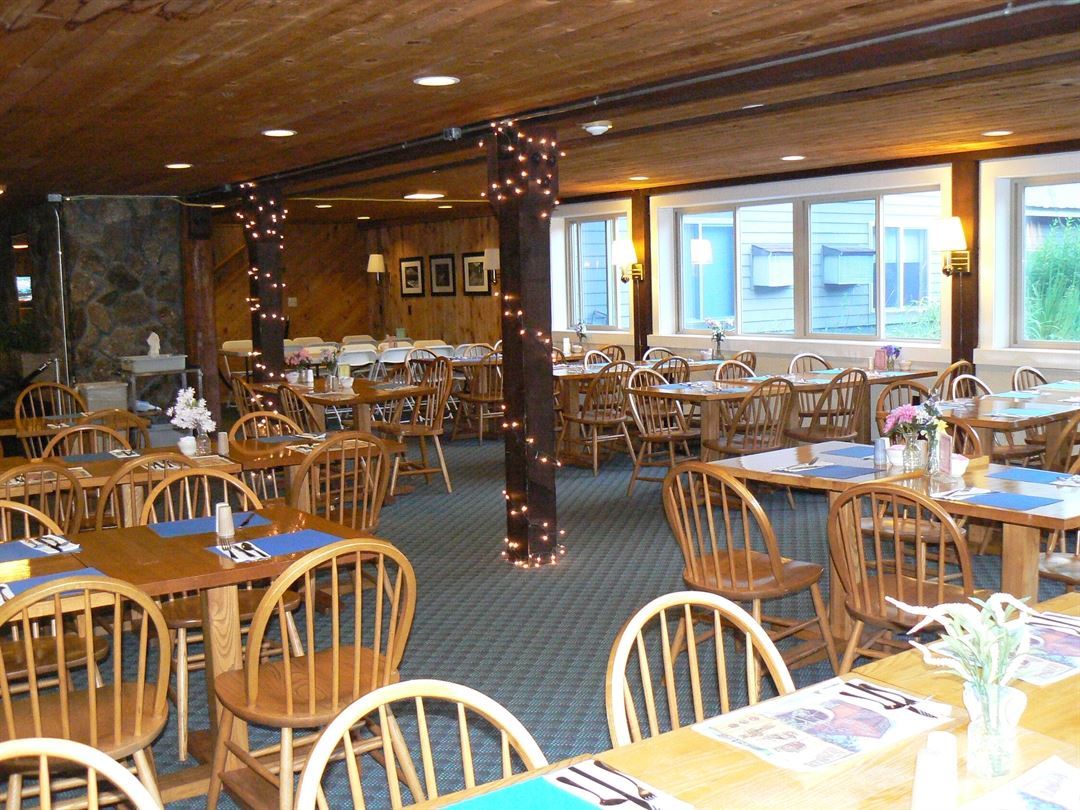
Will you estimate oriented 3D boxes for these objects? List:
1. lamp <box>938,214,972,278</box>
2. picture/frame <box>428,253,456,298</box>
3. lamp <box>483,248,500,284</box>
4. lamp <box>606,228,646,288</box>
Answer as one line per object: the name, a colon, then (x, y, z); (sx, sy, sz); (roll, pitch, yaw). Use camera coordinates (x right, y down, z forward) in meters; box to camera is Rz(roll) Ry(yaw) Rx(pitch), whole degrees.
lamp: (3.773, -1.424, 7.560); (0.262, 0.532, 0.342); (7, 15, 39)
picture/frame: (-1.588, -2.095, 13.332); (0.911, 0.787, 0.074); (8, 15, 43)
lamp: (-0.735, -2.061, 12.458); (0.144, 0.557, 0.468); (-8, 12, -19)
lamp: (1.087, -1.804, 10.571); (0.379, 0.585, 0.819); (-3, 10, 1)
